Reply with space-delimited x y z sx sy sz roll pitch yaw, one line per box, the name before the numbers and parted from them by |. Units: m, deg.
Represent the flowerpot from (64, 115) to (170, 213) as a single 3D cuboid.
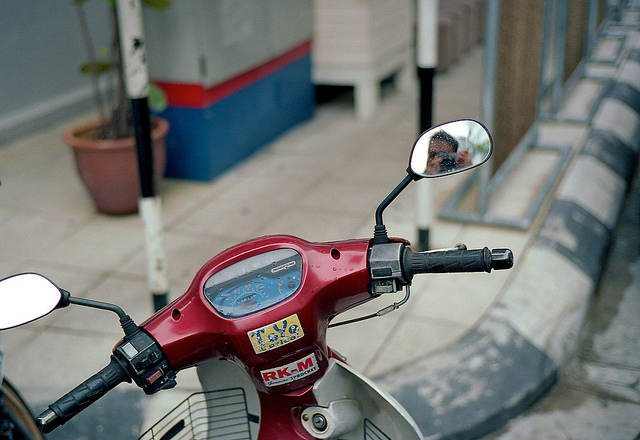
flowerpot | -1.778 -0.412 7.503 0.735 1.071 0.693 10 28 22
